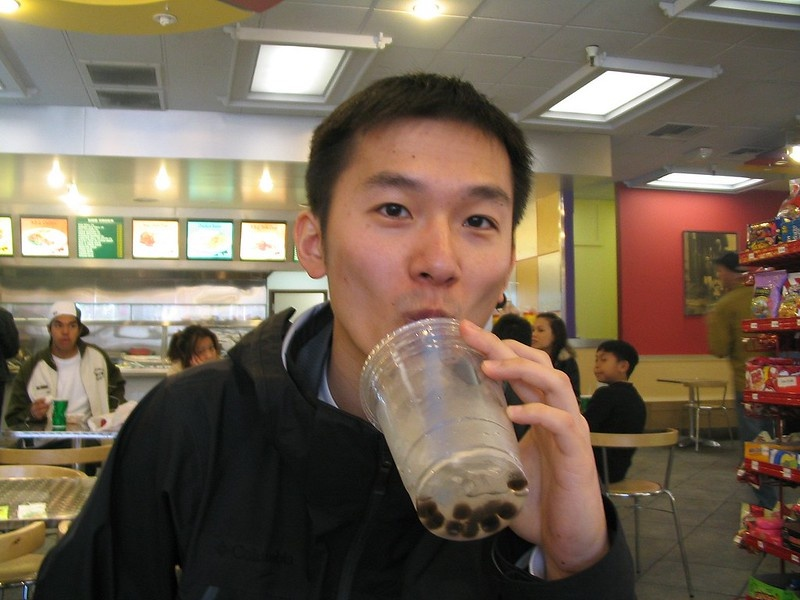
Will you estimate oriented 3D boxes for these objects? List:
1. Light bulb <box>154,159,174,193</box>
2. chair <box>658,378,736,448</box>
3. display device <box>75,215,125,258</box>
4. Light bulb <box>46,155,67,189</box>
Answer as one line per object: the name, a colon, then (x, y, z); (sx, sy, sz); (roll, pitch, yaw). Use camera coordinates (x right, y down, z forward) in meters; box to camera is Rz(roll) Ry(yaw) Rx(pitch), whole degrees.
Light bulb: (-2.334, -1.261, 6.328); (0.146, 0.289, 0.136); (0, -44, -18)
chair: (4.025, 1.435, 8.390); (1.083, 0.935, 0.913); (0, 0, -4)
display device: (-3.678, -0.770, 7.776); (0.576, 0.479, 0.126); (1, 2, 2)
Light bulb: (-3.310, -1.267, 6.171); (0.131, 0.252, 0.124); (-1, -34, -23)
